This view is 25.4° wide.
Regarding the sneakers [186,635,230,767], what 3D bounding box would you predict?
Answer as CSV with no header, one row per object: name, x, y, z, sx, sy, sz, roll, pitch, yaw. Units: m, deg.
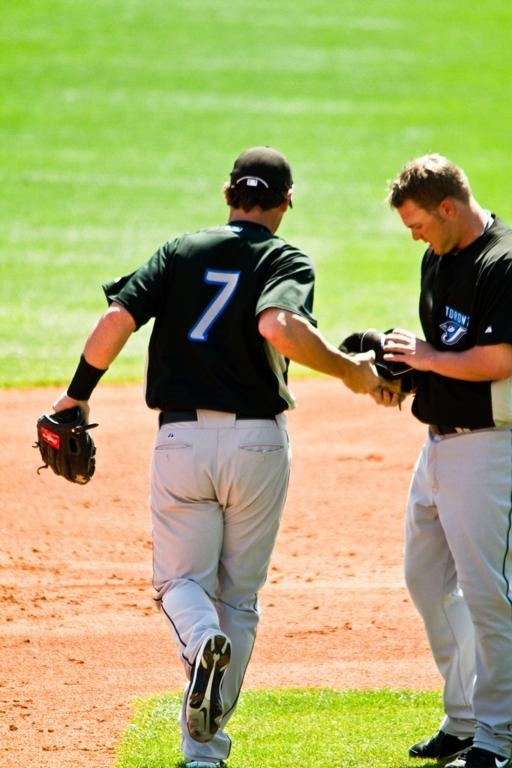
sneakers,-0.159,0.995,3.642,0.140,0.391,0.092,1,14,-10

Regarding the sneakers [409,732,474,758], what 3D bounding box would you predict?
sneakers,0.666,1.313,4.134,0.266,0.092,0.086,0,2,-4

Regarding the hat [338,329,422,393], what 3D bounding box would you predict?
hat,0.475,-0.092,4.396,0.228,0.272,0.143,-3,-1,36

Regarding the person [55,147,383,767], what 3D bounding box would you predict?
person,-0.248,0.318,3.941,0.821,1.708,0.815,12,16,31

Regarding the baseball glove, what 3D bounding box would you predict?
baseball glove,-0.709,0.247,4.280,0.243,0.296,0.177,13,36,29
